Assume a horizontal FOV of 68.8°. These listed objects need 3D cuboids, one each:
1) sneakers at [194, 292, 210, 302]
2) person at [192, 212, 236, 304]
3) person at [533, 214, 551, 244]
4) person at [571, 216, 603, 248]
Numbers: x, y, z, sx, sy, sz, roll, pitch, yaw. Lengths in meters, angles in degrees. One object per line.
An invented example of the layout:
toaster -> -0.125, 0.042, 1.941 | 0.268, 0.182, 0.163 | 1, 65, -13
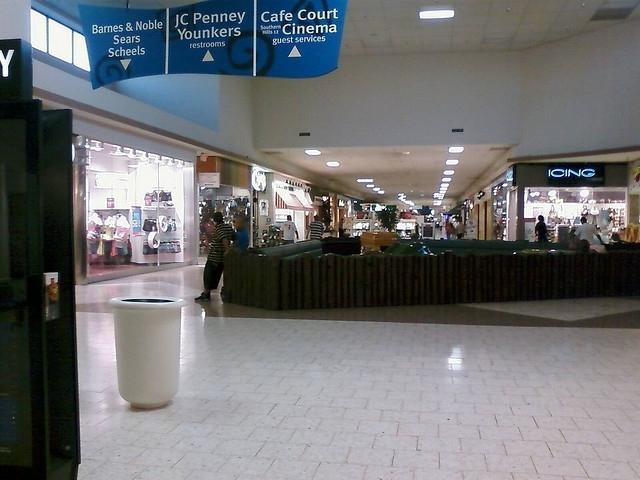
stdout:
sneakers -> -2.012, 0.979, 8.060 | 0.254, 0.148, 0.230 | -2, 2, -19
person -> -1.859, 0.277, 8.314 | 0.708, 1.524, 0.752 | -1, 2, -3
person -> 7.558, -0.428, 15.984 | 0.380, 0.862, 1.161 | 0, 2, 24
person -> 6.708, -0.123, 11.754 | 0.699, 0.942, 0.557 | -6, 5, 24
